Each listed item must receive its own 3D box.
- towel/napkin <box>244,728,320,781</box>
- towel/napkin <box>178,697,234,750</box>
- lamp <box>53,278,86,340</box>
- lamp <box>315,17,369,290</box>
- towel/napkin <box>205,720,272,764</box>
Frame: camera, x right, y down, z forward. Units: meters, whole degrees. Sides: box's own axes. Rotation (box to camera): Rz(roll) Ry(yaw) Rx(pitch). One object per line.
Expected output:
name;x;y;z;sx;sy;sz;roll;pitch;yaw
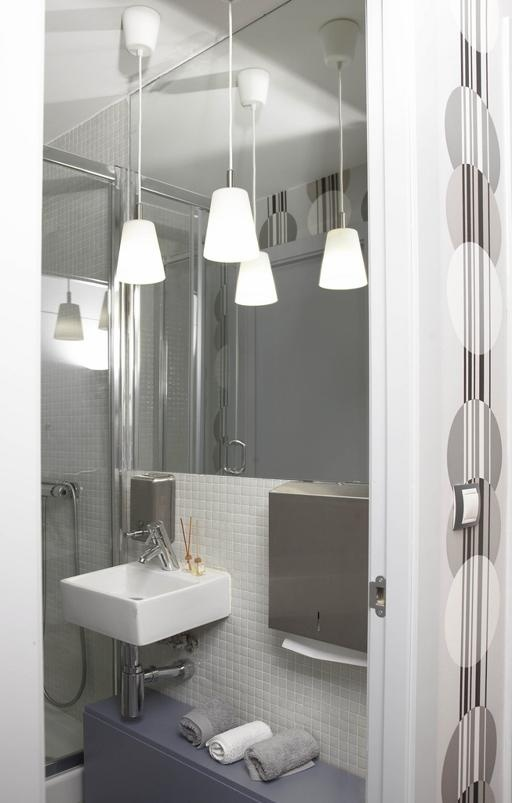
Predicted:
towel/napkin;0.071;0.863;1.679;0.141;0.074;0.088;-1;3;-43
towel/napkin;-0.137;0.900;1.873;0.080;0.063;0.116;2;-1;37
lamp;-0.666;-0.325;2.341;0.031;0.213;0.116;0;0;34
lamp;0.227;-0.665;1.762;0.120;0.743;0.118;0;0;7
towel/napkin;-0.042;0.888;1.774;0.079;0.068;0.141;6;6;36
